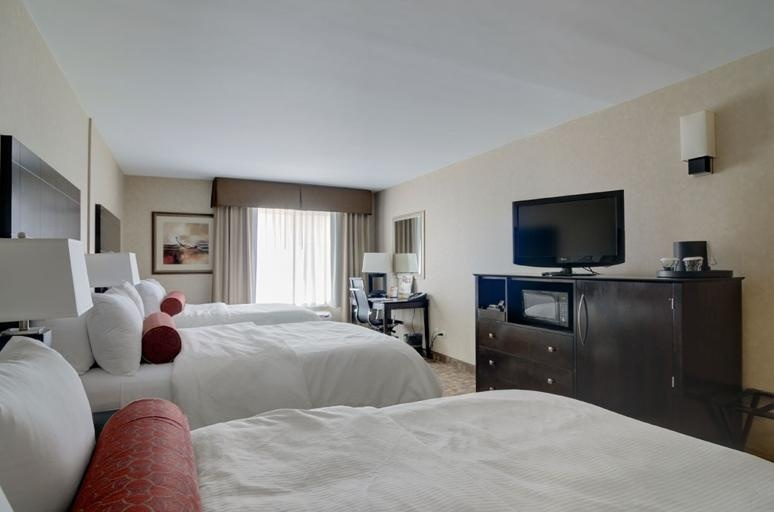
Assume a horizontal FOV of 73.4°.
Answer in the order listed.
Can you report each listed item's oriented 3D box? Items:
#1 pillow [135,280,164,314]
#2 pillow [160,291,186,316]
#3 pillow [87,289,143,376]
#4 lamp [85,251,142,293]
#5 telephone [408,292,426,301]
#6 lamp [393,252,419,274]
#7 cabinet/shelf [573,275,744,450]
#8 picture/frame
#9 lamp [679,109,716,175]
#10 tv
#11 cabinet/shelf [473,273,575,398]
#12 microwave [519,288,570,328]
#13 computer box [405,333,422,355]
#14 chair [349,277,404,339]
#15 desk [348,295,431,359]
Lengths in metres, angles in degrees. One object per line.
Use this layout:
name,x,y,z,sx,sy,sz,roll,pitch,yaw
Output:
pillow,-2.183,0.374,4.749,0.099,0.201,0.295,-9,3,-17
pillow,-2.169,0.474,5.243,0.161,0.160,0.173,42,-19,-21
pillow,-1.799,0.522,3.415,0.191,0.389,0.574,-2,0,-19
lamp,-2.198,0.114,4.195,0.308,0.272,0.315,-1,3,-1
telephone,0.423,0.528,6.920,0.212,0.109,0.368,1,-3,15
lamp,0.257,0.091,7.316,0.176,0.285,0.569,2,-3,-27
cabinet/shelf,1.976,0.674,4.165,0.933,1.416,0.945,-21,20,-31
picture/frame,-2.866,-0.196,7.193,0.833,0.917,0.068,-1,3,-22
lamp,2.389,-0.869,3.965,0.238,0.460,0.116,1,-2,25
tv,1.580,-0.197,4.575,0.936,0.692,0.245,-2,6,32
cabinet/shelf,1.232,0.704,4.553,0.434,1.175,1.006,5,-8,-28
microwave,1.471,0.427,4.644,0.279,0.316,0.462,-8,8,-43
computer box,0.396,1.146,6.908,0.259,0.297,0.269,-2,-5,26
chair,-0.120,0.739,7.167,0.688,0.910,0.915,-3,3,-39
desk,0.195,0.774,7.335,0.584,0.761,1.028,-5,17,-8
